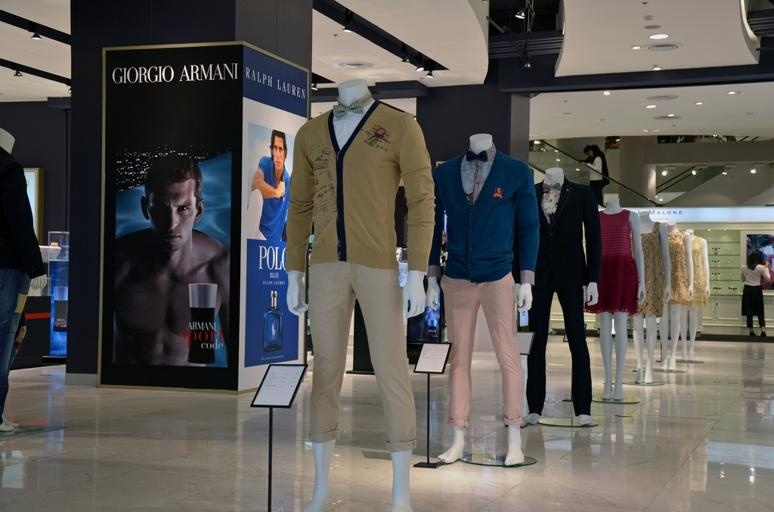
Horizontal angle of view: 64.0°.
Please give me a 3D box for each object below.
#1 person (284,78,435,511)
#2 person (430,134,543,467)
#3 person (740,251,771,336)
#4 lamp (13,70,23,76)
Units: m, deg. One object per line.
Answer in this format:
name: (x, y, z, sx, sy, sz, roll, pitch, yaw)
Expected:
person: (-0.163, 0.201, 3.360, 0.834, 2.333, 0.336, -1, -4, 5)
person: (0.692, 0.280, 4.314, 0.723, 2.263, 0.287, -1, -4, 13)
person: (9.019, 0.894, 15.069, 0.650, 2.114, 0.833, -3, -5, 29)
lamp: (-7.142, -3.515, 11.987, 0.153, 0.129, 0.214, -2, 1, -31)
